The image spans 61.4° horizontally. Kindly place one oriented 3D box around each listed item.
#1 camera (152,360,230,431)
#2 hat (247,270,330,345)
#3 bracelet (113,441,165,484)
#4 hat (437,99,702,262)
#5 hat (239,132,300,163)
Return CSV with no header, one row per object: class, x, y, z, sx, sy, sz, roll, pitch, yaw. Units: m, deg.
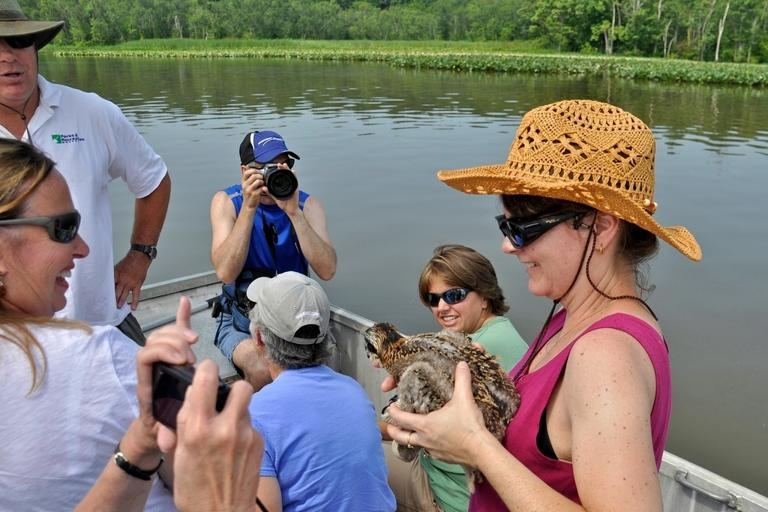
camera,-0.831,0.587,2.595,0.094,0.260,0.390,-20,-30,25
hat,-0.576,0.346,3.883,0.340,0.262,0.471,-3,35,-38
bracelet,-1.026,0.859,2.699,0.172,0.050,0.150,33,-13,-23
hat,0.801,-0.449,3.026,0.881,0.402,0.748,16,5,20
hat,-1.084,-0.944,5.792,0.469,0.249,0.342,15,21,42
